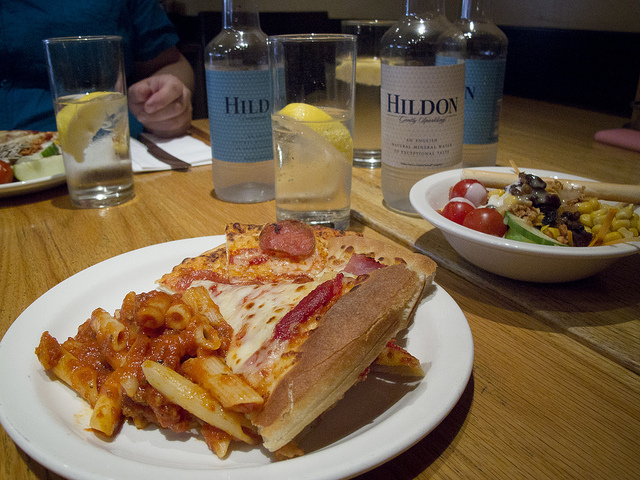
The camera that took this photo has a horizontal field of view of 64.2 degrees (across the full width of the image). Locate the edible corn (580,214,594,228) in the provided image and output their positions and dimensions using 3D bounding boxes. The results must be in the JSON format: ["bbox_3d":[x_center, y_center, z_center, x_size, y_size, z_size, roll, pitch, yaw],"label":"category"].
[{"bbox_3d":[0.620,-0.042,1.175,0.026,0.009,0.027,22,52,4],"label":"edible corn"}]

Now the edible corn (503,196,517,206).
[{"bbox_3d":[0.456,-0.093,1.216,0.023,0.006,0.023,-9,39,3],"label":"edible corn"}]

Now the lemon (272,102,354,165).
[{"bbox_3d":[0.001,-0.268,1.311,0.209,0.109,0.115,34,17,-3],"label":"lemon"}]

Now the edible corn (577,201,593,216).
[{"bbox_3d":[0.629,-0.075,1.203,0.032,0.018,0.033,-11,37,0],"label":"edible corn"}]

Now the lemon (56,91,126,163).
[{"bbox_3d":[-0.678,-0.332,1.516,0.119,0.202,0.157,10,22,31],"label":"lemon"}]

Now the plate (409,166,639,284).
[{"bbox_3d":[0.426,-0.099,1.282,0.639,0.259,0.459,-10,14,-21],"label":"plate"}]

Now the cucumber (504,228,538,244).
[{"bbox_3d":[0.446,-0.006,1.140,0.037,0.011,0.041,19,17,-6],"label":"cucumber"}]

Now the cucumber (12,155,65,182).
[{"bbox_3d":[-0.927,-0.235,1.677,0.128,0.045,0.113,3,27,8],"label":"cucumber"}]

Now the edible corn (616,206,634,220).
[{"bbox_3d":[0.696,-0.059,1.150,0.027,0.012,0.041,0,30,29],"label":"edible corn"}]

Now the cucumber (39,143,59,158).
[{"bbox_3d":[-0.925,-0.298,1.739,0.049,0.015,0.053,-38,45,-16],"label":"cucumber"}]

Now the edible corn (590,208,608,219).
[{"bbox_3d":[0.649,-0.061,1.177,0.026,0.008,0.026,4,31,46],"label":"edible corn"}]
